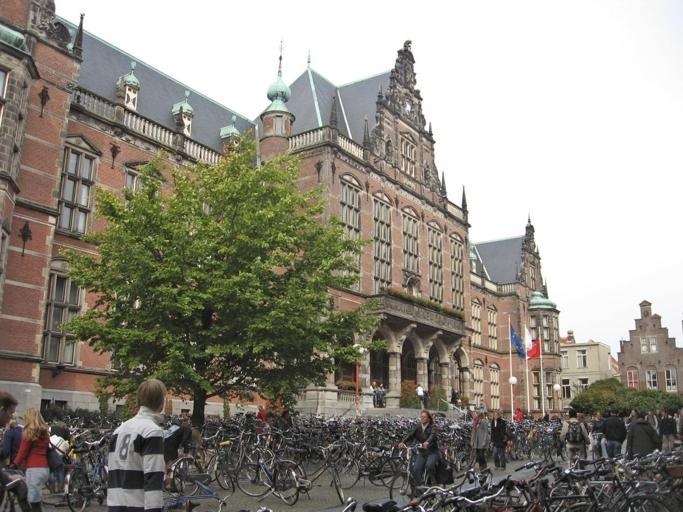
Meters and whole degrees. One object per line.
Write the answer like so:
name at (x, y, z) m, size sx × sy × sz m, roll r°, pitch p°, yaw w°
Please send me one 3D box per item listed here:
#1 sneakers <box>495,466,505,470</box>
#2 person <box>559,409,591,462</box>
sneakers at (4.665, 6.226, 20.564) m, size 0.173 × 0.067 × 0.127 m, roll 7°, pitch -7°, yaw -32°
person at (6.147, 4.945, 18.456) m, size 0.729 × 1.759 × 0.529 m, roll -3°, pitch 10°, yaw 27°
